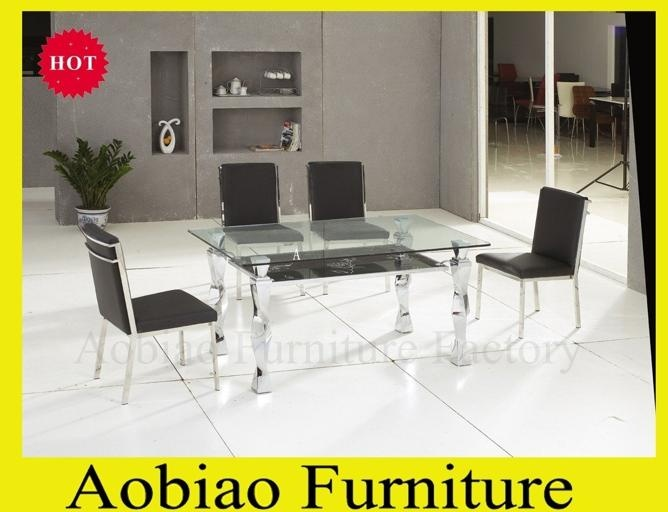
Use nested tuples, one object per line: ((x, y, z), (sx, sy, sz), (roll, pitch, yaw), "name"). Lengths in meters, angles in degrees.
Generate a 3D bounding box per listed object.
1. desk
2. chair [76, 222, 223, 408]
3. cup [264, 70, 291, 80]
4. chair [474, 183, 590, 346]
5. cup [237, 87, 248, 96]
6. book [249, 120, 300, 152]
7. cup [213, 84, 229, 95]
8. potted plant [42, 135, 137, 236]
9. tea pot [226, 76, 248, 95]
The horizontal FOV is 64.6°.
((0.038, 0.248, 3.636), (1.729, 0.885, 0.937), (-5, 12, -15), "desk")
((-1.102, 0.313, 3.189), (0.614, 0.909, 0.694), (10, 11, 39), "chair")
((-0.787, -2.532, 7.400), (0.389, 0.137, 0.178), (-3, 12, -7), "cup")
((1.505, 0.023, 4.045), (0.691, 0.990, 0.653), (-8, 13, -25), "chair")
((-1.269, -2.262, 7.255), (0.161, 0.151, 0.100), (-4, 12, -34), "cup")
((-0.797, -1.672, 7.499), (0.537, 0.322, 0.526), (-5, 16, -18), "book")
((-1.541, -2.244, 7.186), (0.157, 0.114, 0.154), (1, 16, 0), "cup")
((-3.025, -0.928, 6.697), (0.989, 1.113, 0.679), (-8, 13, -27), "potted plant")
((-1.331, -2.314, 7.205), (0.317, 0.292, 0.216), (-6, 22, -11), "tea pot")
